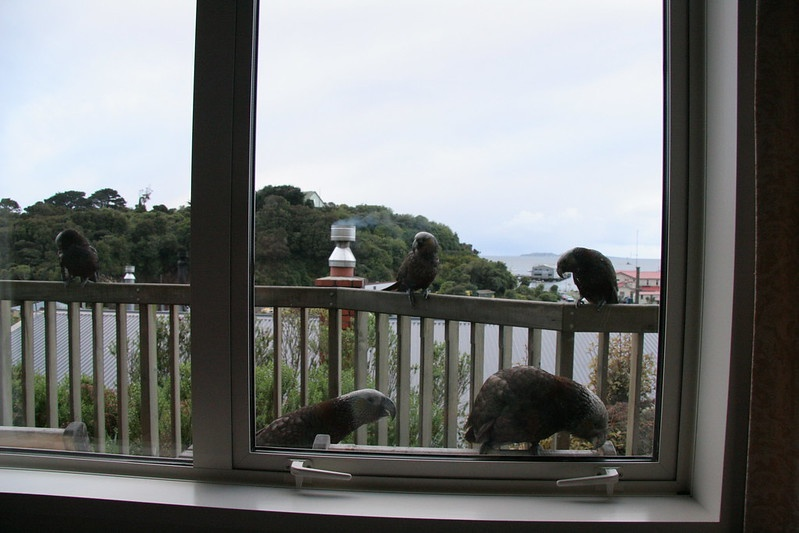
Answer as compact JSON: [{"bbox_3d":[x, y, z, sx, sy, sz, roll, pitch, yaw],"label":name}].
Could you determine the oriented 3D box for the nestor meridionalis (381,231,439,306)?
[{"bbox_3d":[0.047,-0.007,2.981,0.141,0.249,0.309,-3,6,-22],"label":"nestor meridionalis"}]

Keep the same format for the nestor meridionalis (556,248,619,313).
[{"bbox_3d":[0.625,0.037,2.799,0.149,0.222,0.136,0,1,-14],"label":"nestor meridionalis"}]

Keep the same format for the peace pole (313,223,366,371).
[{"bbox_3d":[-0.187,0.102,2.917,0.174,0.469,0.176,0,-3,6],"label":"peace pole"}]

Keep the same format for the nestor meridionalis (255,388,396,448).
[{"bbox_3d":[-0.246,0.514,2.926,0.494,0.217,0.166,2,9,-19],"label":"nestor meridionalis"}]
